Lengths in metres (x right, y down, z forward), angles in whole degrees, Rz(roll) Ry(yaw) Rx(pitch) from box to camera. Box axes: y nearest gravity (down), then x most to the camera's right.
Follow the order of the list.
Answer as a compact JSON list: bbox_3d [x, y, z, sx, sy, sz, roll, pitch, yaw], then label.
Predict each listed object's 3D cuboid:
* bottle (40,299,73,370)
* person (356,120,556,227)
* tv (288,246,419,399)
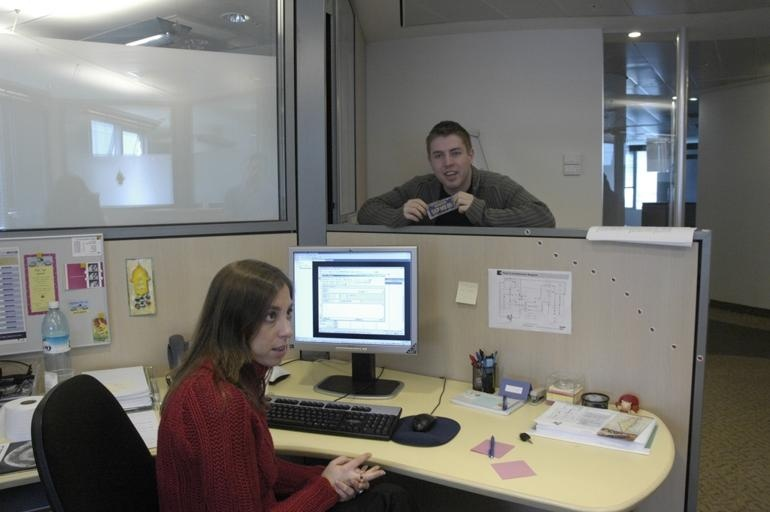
[{"bbox_3d":[-1.458,0.350,2.459,0.113,0.309,0.079,-5,5,-32],"label":"bottle"},{"bbox_3d":[0.528,-0.562,3.627,0.988,0.590,0.610,0,1,18],"label":"person"},{"bbox_3d":[-0.135,0.281,2.507,0.653,0.752,0.267,0,0,13],"label":"tv"}]
